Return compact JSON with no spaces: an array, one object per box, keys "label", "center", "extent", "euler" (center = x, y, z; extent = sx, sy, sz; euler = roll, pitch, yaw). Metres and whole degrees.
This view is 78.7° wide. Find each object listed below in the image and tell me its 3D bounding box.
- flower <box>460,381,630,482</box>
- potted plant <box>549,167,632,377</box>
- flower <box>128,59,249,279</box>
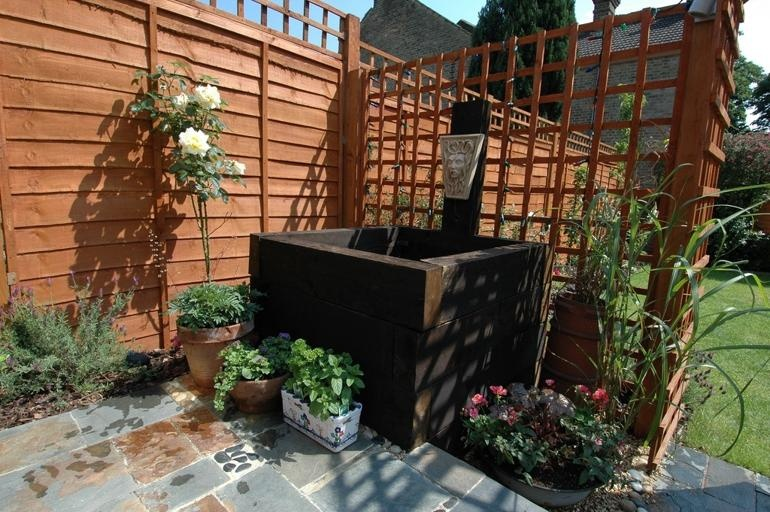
[{"label":"flower","center":[1.168,1.272,3.373],"extent":[0.856,0.374,0.802],"euler":[-8,17,-38]},{"label":"potted plant","center":[1.601,0.171,3.753],"extent":[0.524,1.855,1.016],"euler":[5,7,21]},{"label":"flower","center":[-1.717,-0.709,4.148],"extent":[0.935,1.940,0.581],"euler":[0,7,-21]}]
